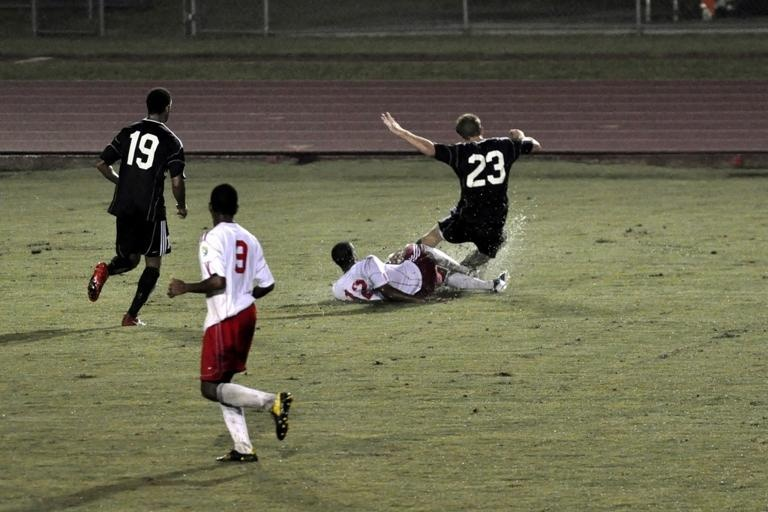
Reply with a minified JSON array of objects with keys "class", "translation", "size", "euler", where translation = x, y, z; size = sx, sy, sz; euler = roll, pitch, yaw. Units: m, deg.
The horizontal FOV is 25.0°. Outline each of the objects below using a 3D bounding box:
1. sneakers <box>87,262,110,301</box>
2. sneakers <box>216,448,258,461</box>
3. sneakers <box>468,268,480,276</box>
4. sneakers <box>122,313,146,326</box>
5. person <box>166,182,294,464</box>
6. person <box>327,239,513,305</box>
[{"class":"sneakers","translation":[-4.175,0.362,25.136],"size":[0.284,0.211,0.575],"euler":[19,-27,2]},{"class":"sneakers","translation":[-1.960,2.614,22.700],"size":[0.528,0.168,0.169],"euler":[2,-1,0]},{"class":"sneakers","translation":[1.332,0.226,26.830],"size":[0.160,0.117,0.057],"euler":[-1,2,-6]},{"class":"sneakers","translation":[-3.712,0.917,25.104],"size":[0.411,0.134,0.143],"euler":[-2,15,-23]},{"class":"person","translation":[-2.053,0.868,22.680],"size":[1.335,3.626,0.673],"euler":[0,7,2]},{"class":"person","translation":[0.398,0.290,26.190],"size":[2.222,0.606,1.120],"euler":[-3,-10,1]}]
